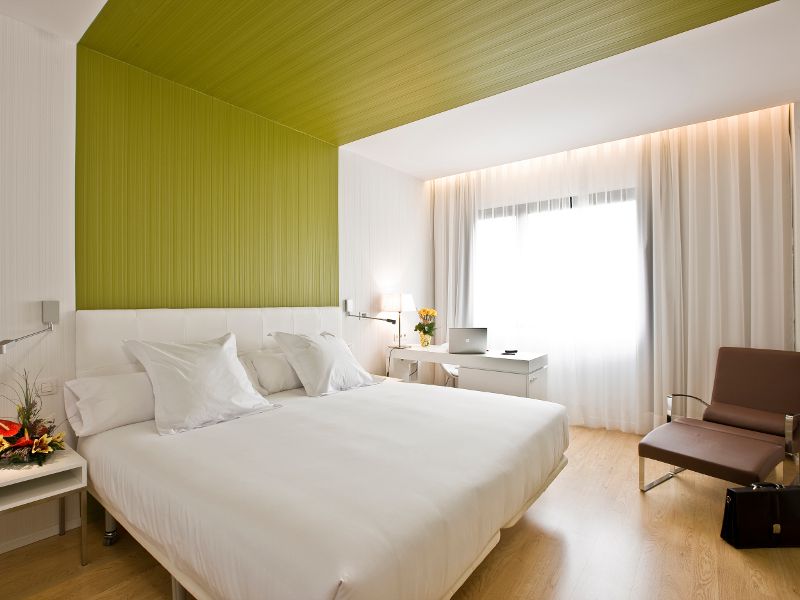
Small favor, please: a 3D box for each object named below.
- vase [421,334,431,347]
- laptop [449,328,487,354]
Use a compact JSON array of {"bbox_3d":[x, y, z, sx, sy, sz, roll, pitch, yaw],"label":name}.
[{"bbox_3d":[0.298,0.472,6.178,0.118,0.137,0.116,-1,-1,39],"label":"vase"},{"bbox_3d":[0.724,0.357,5.490,0.354,0.265,0.260,1,-3,9],"label":"laptop"}]
